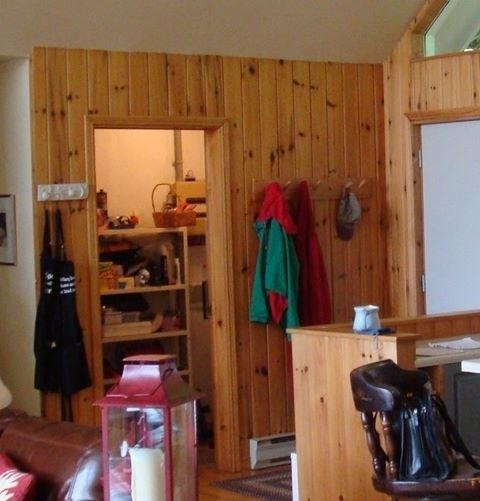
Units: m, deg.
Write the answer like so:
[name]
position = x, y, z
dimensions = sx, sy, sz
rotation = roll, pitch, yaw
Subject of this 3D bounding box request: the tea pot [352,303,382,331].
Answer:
[tea pot]
position = 0.534, 0.287, 2.339
dimensions = 0.142, 0.106, 0.127
rotation = -6, -4, 36

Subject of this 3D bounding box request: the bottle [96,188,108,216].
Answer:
[bottle]
position = -1.089, -0.389, 4.338
dimensions = 0.064, 0.262, 0.468
rotation = -2, -3, -12

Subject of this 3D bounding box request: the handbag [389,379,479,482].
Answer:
[handbag]
position = 0.571, 0.537, 1.620
dimensions = 0.227, 0.283, 0.237
rotation = -4, -3, 30

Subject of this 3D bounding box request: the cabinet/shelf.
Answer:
[cabinet/shelf]
position = -0.714, 0.447, 4.297
dimensions = 0.739, 1.321, 0.756
rotation = -2, -3, -16

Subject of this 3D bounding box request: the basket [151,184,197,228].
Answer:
[basket]
position = -0.554, -0.364, 4.524
dimensions = 0.393, 0.535, 0.285
rotation = -2, 4, -24
